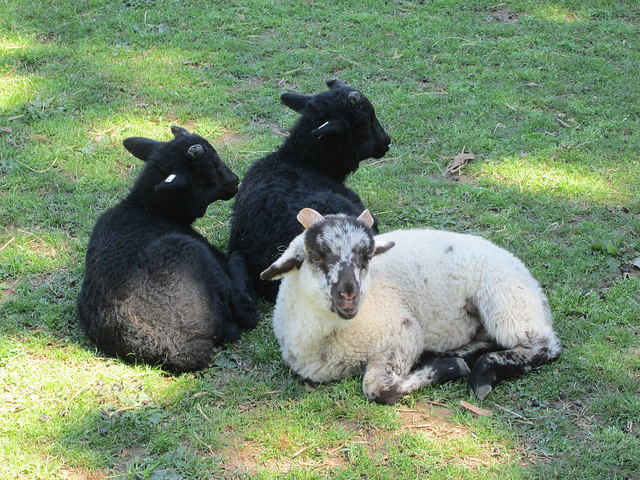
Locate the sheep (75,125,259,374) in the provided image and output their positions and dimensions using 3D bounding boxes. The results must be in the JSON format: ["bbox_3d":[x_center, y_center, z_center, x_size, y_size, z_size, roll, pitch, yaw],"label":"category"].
[{"bbox_3d":[-1.768,0.252,9.114,1.966,2.046,2.883,3,52,15],"label":"sheep"}]

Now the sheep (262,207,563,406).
[{"bbox_3d":[0.942,0.682,7.913,2.892,1.718,1.330,4,26,-3],"label":"sheep"}]

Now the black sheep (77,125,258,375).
[{"bbox_3d":[-1.767,0.103,9.052,1.753,2.088,2.962,4,48,27],"label":"black sheep"}]
